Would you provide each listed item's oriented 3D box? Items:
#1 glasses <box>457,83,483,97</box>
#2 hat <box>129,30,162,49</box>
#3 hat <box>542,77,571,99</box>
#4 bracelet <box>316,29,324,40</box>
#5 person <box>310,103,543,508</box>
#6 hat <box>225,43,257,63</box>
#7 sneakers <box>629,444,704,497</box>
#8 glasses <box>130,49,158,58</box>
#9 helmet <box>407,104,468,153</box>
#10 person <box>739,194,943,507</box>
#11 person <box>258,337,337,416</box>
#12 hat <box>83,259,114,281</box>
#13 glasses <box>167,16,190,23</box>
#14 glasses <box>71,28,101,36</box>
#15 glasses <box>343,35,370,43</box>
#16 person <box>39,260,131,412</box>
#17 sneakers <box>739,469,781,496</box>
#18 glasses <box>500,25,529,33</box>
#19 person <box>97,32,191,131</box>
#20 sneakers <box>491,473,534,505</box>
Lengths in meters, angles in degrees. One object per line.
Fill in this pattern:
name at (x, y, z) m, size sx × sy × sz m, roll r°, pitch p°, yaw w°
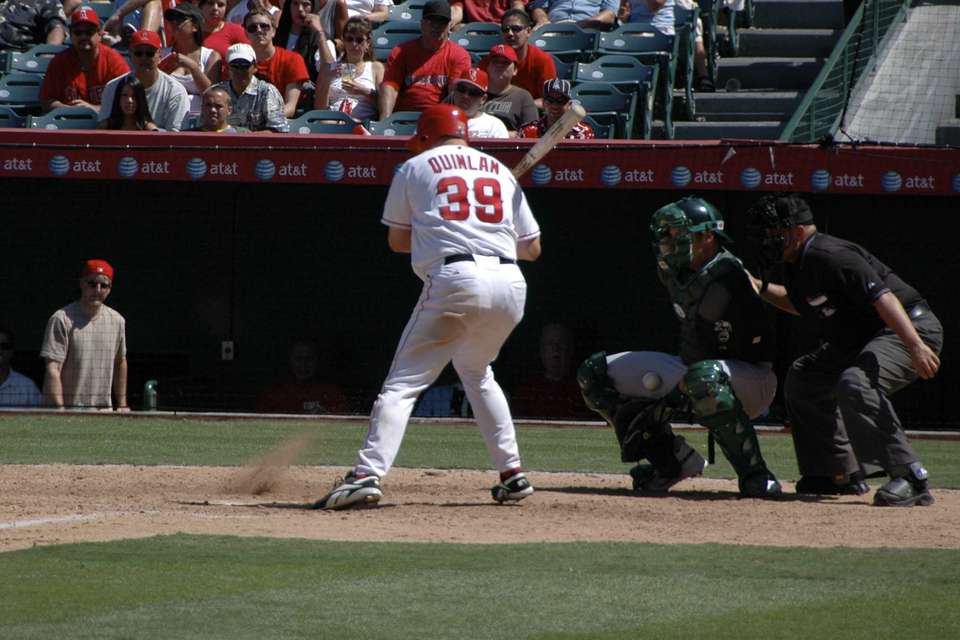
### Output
glasses at (-0.093, -2.122, 15.268) m, size 0.245 × 0.110 × 0.121 m, roll 1°, pitch 7°, yaw 2°
hat at (-3.233, -2.691, 15.863) m, size 0.272 × 0.160 × 0.252 m, roll -1°, pitch 8°, yaw -14°
hat at (0.727, -2.190, 15.705) m, size 0.246 × 0.196 × 0.303 m, roll 1°, pitch 7°, yaw 2°
bracelet at (-1.664, -2.950, 17.050) m, size 0.032 × 0.111 × 0.107 m, roll -23°, pitch 42°, yaw -7°
person at (-0.240, 0.057, 11.128) m, size 1.218 × 2.426 × 0.555 m, roll 1°, pitch 8°, yaw -4°
hat at (-2.312, -2.558, 15.854) m, size 0.265 × 0.193 × 0.329 m, roll 0°, pitch 7°, yaw -10°
sneakers at (1.360, 1.076, 11.794) m, size 0.644 × 0.281 × 0.233 m, roll -19°, pitch 42°, yaw 21°
glasses at (-3.246, -2.558, 15.842) m, size 0.244 × 0.091 × 0.107 m, roll 0°, pitch 7°, yaw -7°
helmet at (-0.292, -1.311, 11.333) m, size 0.404 × 0.280 × 0.282 m, roll -18°, pitch -1°, yaw 24°
person at (2.533, 0.220, 11.428) m, size 1.276 × 2.102 × 0.514 m, roll 3°, pitch 8°, yaw 11°
person at (-1.755, 0.567, 16.031) m, size 0.762 × 0.505 × 0.333 m, roll 2°, pitch -9°, yaw -2°
hat at (-3.527, -0.473, 15.174) m, size 0.201 × 0.141 × 0.267 m, roll 3°, pitch -11°, yaw -12°
glasses at (-3.074, -3.034, 16.634) m, size 0.230 × 0.038 × 0.069 m, roll 8°, pitch 10°, yaw 42°
glasses at (-3.997, -2.907, 16.644) m, size 0.268 × 0.106 × 0.156 m, roll 0°, pitch 8°, yaw -12°
glasses at (-1.249, -2.829, 16.636) m, size 0.268 × 0.101 × 0.183 m, roll 0°, pitch 7°, yaw -10°
person at (-3.682, 0.155, 15.272) m, size 0.757 × 1.423 × 0.384 m, roll -1°, pitch 8°, yaw -13°
sneakers at (1.988, 1.152, 11.642) m, size 0.280 × 0.169 × 0.157 m, roll -4°, pitch 3°, yaw -1°
glasses at (0.339, -2.917, 16.518) m, size 0.236 × 0.055 × 0.133 m, roll 1°, pitch 7°, yaw 1°
person at (-3.257, -2.211, 15.891) m, size 0.829 × 1.130 × 0.673 m, roll 3°, pitch 5°, yaw 4°
sneakers at (0.234, 1.154, 11.306) m, size 0.144 × 0.181 × 0.356 m, roll -30°, pitch 10°, yaw -29°
